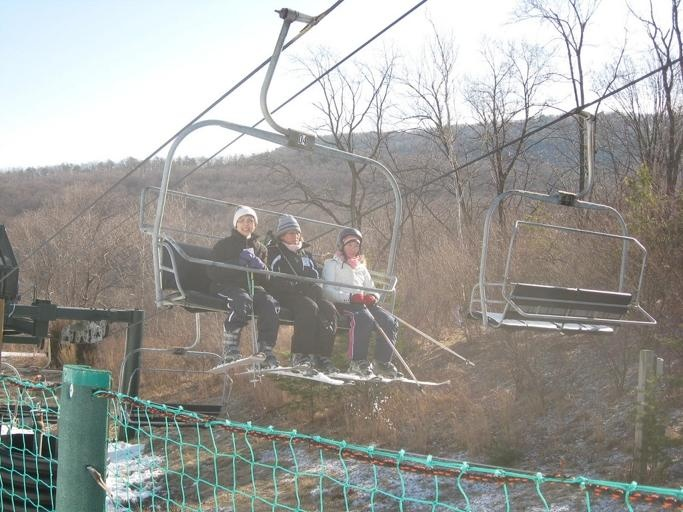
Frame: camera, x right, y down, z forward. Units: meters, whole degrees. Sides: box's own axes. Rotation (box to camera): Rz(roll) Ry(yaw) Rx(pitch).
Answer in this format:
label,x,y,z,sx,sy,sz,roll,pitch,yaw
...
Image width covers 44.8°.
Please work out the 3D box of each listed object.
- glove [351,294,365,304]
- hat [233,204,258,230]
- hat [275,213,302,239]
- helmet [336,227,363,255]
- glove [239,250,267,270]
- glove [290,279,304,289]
label,x,y,z,sx,sy,sz,roll,pitch,yaw
glove,0.289,0.719,14.029,0.227,0.173,0.064,-1,-4,-2
hat,-1.699,-0.715,14.654,0.340,0.375,0.445,1,8,-19
hat,-0.934,-0.537,14.671,0.396,0.400,0.410,0,-2,19
helmet,0.145,-0.275,14.636,0.357,0.431,0.444,10,-18,-29
glove,-1.459,0.064,13.724,0.396,0.187,0.308,33,7,34
glove,-0.765,0.484,14.153,0.186,0.123,0.188,-2,2,-10
